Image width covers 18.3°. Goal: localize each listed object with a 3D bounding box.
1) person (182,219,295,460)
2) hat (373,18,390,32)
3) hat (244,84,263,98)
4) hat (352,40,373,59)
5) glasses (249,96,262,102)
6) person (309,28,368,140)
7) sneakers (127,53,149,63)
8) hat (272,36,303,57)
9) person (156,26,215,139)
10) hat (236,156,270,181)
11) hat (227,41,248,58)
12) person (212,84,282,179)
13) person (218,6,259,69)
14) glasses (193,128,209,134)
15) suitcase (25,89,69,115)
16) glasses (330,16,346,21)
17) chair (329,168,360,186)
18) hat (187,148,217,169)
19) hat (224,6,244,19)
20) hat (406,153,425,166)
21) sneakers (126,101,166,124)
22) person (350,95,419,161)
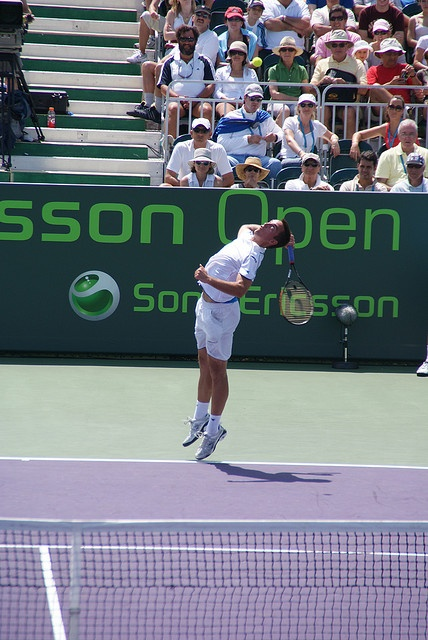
[{"bbox_3d":[0.113,0.128,8.991,0.631,1.615,0.673,1,10,-2],"label":"person"},{"bbox_3d":[1.980,-3.555,16.059,0.144,0.134,0.226,2,8,6],"label":"hat"},{"bbox_3d":[0.391,-2.354,13.569,0.140,0.110,0.204,8,-3,-6],"label":"hat"},{"bbox_3d":[1.705,-3.144,15.636,0.214,0.127,0.237,-28,19,-1],"label":"hat"},{"bbox_3d":[0.408,-2.254,13.504,0.141,0.052,0.053,-6,12,-35],"label":"glasses"},{"bbox_3d":[1.380,-2.497,15.022,0.519,1.535,0.629,3,6,34],"label":"person"},{"bbox_3d":[-0.951,-3.251,16.563,0.286,0.109,0.140,-15,-12,-32],"label":"sneakers"},{"bbox_3d":[0.802,-3.163,15.368,0.398,0.191,0.463,1,-11,3],"label":"hat"},{"bbox_3d":[-0.310,-2.488,14.470,0.675,1.425,0.807,1,13,1],"label":"person"},{"bbox_3d":[0.341,-1.512,13.254,0.236,0.124,0.264,8,-29,2],"label":"hat"},{"bbox_3d":[0.253,-2.994,14.619,0.137,0.095,0.186,3,-23,0],"label":"hat"},{"bbox_3d":[0.339,-1.862,13.743,0.737,1.143,0.634,4,5,2],"label":"person"},{"bbox_3d":[0.247,-3.260,15.347,0.560,0.903,0.634,-1,17,-1],"label":"person"},{"bbox_3d":[-0.132,-1.813,12.720,0.142,0.064,0.096,0,10,-9],"label":"glasses"},{"bbox_3d":[-1.872,-2.498,15.229,0.425,0.254,0.299,-1,12,-9],"label":"suitcase"},{"bbox_3d":[1.421,-3.588,15.829,0.220,0.050,0.096,10,13,38],"label":"glasses"},{"bbox_3d":[1.306,-1.472,13.714,0.168,0.240,0.210,-1,5,-3],"label":"chair"},{"bbox_3d":[-0.109,-1.523,12.521,0.182,0.123,0.228,2,-17,-1],"label":"hat"},{"bbox_3d":[0.210,-3.481,15.071,0.146,0.115,0.240,2,7,-5],"label":"hat"},{"bbox_3d":[1.878,-1.535,12.708,0.158,0.107,0.192,3,10,9],"label":"hat"},{"bbox_3d":[-0.758,-2.383,15.259,0.450,0.202,0.154,21,24,5],"label":"sneakers"},{"bbox_3d":[1.753,-2.021,14.065,0.596,0.794,0.469,20,27,11],"label":"person"}]
